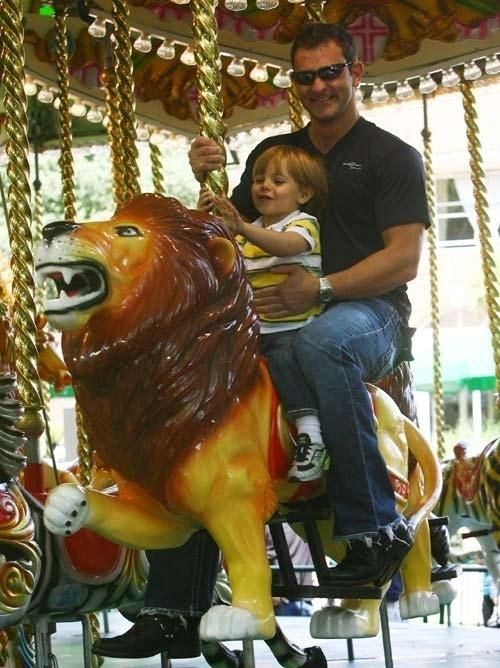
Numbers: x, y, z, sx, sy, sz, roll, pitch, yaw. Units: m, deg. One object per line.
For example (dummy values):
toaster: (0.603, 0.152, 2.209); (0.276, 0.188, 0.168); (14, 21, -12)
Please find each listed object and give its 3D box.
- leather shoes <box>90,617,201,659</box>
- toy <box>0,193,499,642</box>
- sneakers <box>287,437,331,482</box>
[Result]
leather shoes: (-0.239, 0.740, 1.826); (0.308, 0.126, 0.115); (9, -18, -21)
toy: (-0.161, 0.171, 1.569); (0.621, 0.955, 0.283); (-1, -7, -33)
sneakers: (0.127, 0.277, 1.615); (0.060, 0.065, 0.145); (-1, -2, 24)
